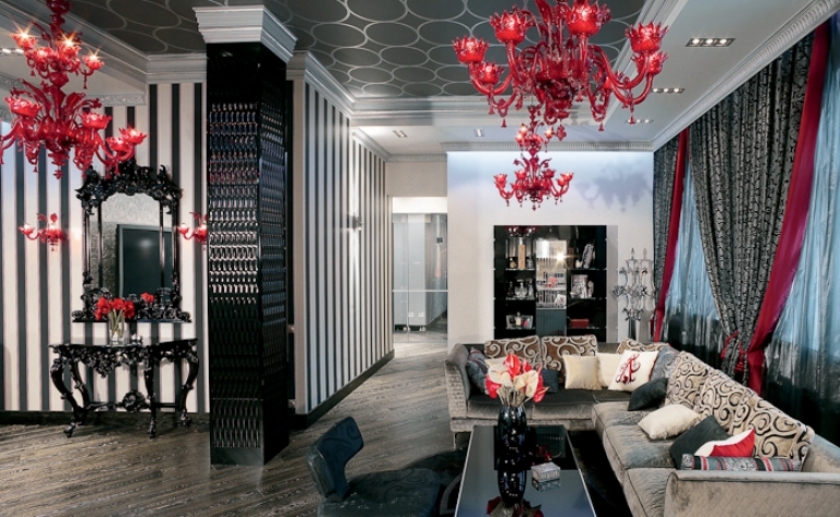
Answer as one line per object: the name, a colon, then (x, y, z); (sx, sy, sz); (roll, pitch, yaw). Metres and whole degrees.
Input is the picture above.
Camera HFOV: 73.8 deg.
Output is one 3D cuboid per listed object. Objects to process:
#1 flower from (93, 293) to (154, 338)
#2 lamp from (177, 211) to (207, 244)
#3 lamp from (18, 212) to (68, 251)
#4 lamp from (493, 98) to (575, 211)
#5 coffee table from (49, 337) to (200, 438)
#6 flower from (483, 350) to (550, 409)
flower: (-3.973, 0.844, 7.465); (0.527, 0.543, 0.546); (-9, -13, 23)
lamp: (-3.028, -0.403, 7.512); (0.393, 0.412, 0.130); (2, 11, 12)
lamp: (-5.092, -0.383, 7.689); (0.555, 0.456, 0.615); (2, -3, -31)
lamp: (1.790, -1.498, 8.732); (1.236, 1.307, 1.303); (1, 4, 27)
coffee table: (-3.873, 1.665, 7.344); (1.909, 1.186, 0.675); (1, 10, 4)
flower: (0.924, 1.291, 5.616); (0.703, 0.588, 0.597); (-1, -2, -26)
